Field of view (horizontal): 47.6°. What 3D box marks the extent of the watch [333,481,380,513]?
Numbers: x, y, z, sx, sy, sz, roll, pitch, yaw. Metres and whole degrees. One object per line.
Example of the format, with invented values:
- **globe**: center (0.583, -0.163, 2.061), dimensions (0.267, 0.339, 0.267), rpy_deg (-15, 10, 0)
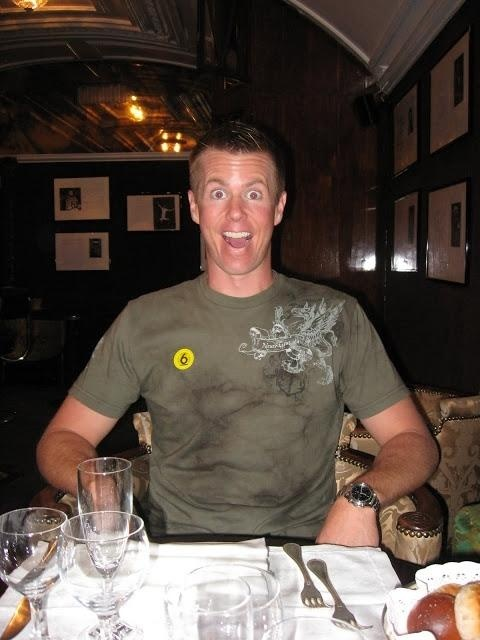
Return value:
- **watch**: center (0.234, 0.332, 1.090), dimensions (0.067, 0.068, 0.043), rpy_deg (18, 46, 37)
